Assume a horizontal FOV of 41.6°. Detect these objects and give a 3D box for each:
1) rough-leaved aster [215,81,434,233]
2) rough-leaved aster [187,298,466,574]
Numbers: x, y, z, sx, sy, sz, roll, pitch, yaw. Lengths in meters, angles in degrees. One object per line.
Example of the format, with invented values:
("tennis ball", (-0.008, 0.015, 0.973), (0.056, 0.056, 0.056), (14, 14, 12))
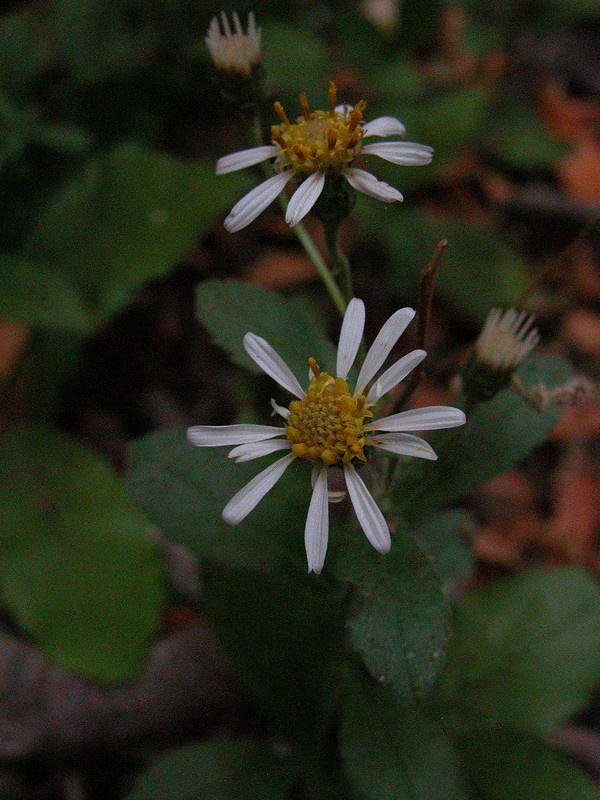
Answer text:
("rough-leaved aster", (0.019, -0.316, 1.022), (0.277, 0.099, 0.220), (-15, 72, -2))
("rough-leaved aster", (0.050, 0.023, 0.992), (0.426, 0.132, 0.353), (-2, 39, 27))
